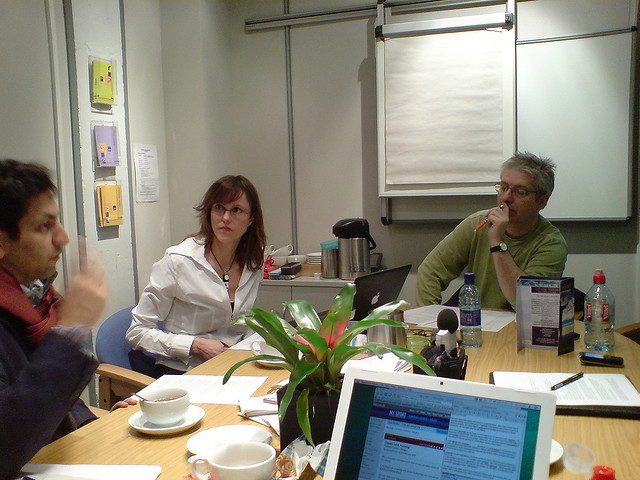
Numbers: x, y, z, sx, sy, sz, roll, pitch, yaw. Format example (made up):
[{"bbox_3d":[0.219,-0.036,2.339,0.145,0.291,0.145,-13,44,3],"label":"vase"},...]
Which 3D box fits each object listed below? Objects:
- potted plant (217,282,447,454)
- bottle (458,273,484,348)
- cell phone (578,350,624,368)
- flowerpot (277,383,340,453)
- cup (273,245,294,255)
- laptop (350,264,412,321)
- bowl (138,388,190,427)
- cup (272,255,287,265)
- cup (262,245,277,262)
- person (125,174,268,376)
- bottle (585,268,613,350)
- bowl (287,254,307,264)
[{"bbox_3d":[-0.020,0.382,1.335,0.411,0.325,0.393,-6,2,-30],"label":"potted plant"},{"bbox_3d":[0.667,0.280,2.061,0.102,0.302,0.280,2,7,17],"label":"bottle"},{"bbox_3d":[1.061,0.440,1.771,0.140,0.033,0.130,4,8,34],"label":"cell phone"},{"bbox_3d":[-0.013,0.460,1.253,0.174,0.189,0.136,0,-1,6],"label":"flowerpot"},{"bbox_3d":[-0.303,0.086,3.993,0.114,0.048,0.084,-11,12,-15],"label":"cup"},{"bbox_3d":[0.270,0.225,2.157,0.229,0.213,0.325,33,23,32],"label":"laptop"},{"bbox_3d":[-0.462,0.517,1.430,0.136,0.087,0.128,-5,-7,-1],"label":"bowl"},{"bbox_3d":[-0.326,0.165,3.907,0.074,0.055,0.078,0,-1,0],"label":"cup"},{"bbox_3d":[-0.387,0.095,3.880,0.082,0.115,0.258,-6,-4,3],"label":"cup"},{"bbox_3d":[-0.545,0.230,2.447,0.706,1.173,0.673,3,7,-28],"label":"person"},{"bbox_3d":[1.129,0.304,1.901,0.104,0.267,0.087,3,8,25],"label":"bottle"},{"bbox_3d":[-0.180,0.153,3.924,0.155,0.061,0.116,-1,7,-5],"label":"bowl"}]
